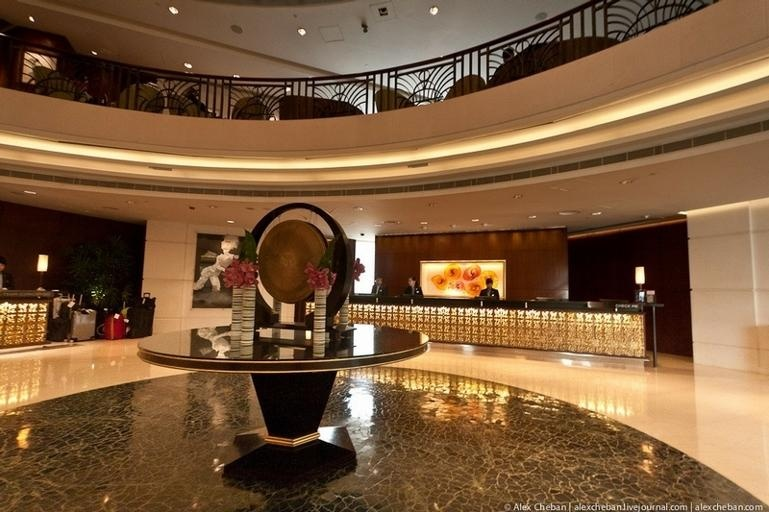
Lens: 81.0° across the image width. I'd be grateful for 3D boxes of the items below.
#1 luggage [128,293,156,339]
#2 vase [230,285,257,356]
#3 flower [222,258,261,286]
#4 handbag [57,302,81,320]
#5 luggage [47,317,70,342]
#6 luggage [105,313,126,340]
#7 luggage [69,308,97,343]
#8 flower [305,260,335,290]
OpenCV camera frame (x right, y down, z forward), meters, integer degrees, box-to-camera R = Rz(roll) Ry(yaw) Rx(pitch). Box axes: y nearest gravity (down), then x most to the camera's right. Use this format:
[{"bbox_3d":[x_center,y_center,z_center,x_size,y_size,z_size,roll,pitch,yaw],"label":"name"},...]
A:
[{"bbox_3d":[-7.263,2.128,13.455,0.762,1.660,1.156,6,-51,-30],"label":"luggage"},{"bbox_3d":[-1.760,0.742,5.593,0.323,0.673,0.953,-2,13,-16],"label":"vase"},{"bbox_3d":[-1.823,0.221,5.704,0.368,0.360,0.169,-20,-4,8],"label":"flower"},{"bbox_3d":[-8.229,1.425,11.844,0.450,0.570,0.522,2,-7,22],"label":"handbag"},{"bbox_3d":[-8.316,1.878,11.548,0.530,0.629,0.162,-9,15,-39],"label":"luggage"},{"bbox_3d":[-7.651,2.014,12.798,0.533,0.653,0.428,-6,14,-32],"label":"luggage"},{"bbox_3d":[-8.150,1.860,12.140,0.379,0.959,0.920,-1,-6,13],"label":"luggage"},{"bbox_3d":[-0.822,0.246,5.746,0.328,0.233,0.320,-2,2,-8],"label":"flower"}]
